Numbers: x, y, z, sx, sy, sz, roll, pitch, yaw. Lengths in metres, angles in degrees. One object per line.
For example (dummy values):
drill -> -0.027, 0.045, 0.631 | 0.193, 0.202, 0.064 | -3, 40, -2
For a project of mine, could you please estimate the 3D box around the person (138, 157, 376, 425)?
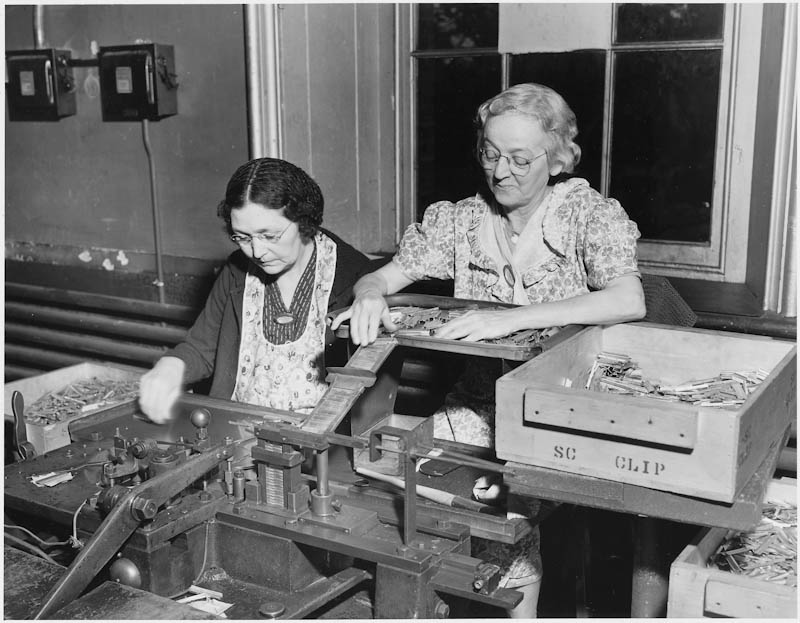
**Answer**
person -> -0.581, -0.102, 2.906 | 0.678, 0.997, 0.714 | 16, 39, 9

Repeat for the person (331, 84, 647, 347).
person -> 0.422, -0.282, 2.680 | 0.970, 1.022, 0.910 | -26, 29, -37

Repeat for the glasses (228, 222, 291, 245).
glasses -> -0.473, -0.249, 2.451 | 0.209, 0.068, 0.075 | 2, 12, 9

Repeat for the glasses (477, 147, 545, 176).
glasses -> 0.363, -0.492, 2.421 | 0.226, 0.089, 0.118 | 3, 12, 17
